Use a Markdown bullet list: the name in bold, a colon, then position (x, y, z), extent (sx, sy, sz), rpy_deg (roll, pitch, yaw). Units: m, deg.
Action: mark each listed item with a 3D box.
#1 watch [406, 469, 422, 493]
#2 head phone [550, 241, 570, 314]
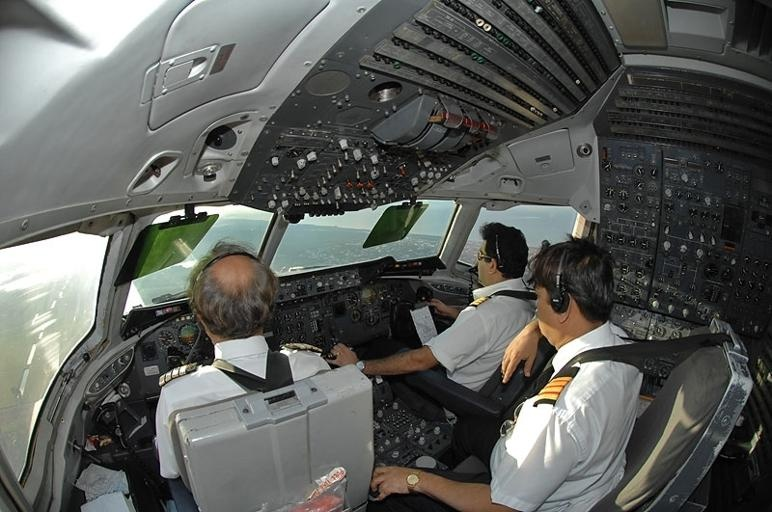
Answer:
- **watch**: position (0.149, 1.248, 2.266), extent (0.068, 0.097, 0.090), rpy_deg (0, -49, 16)
- **head phone**: position (0.923, 0.130, 2.160), extent (0.121, 0.393, 0.328), rpy_deg (2, -11, 22)
